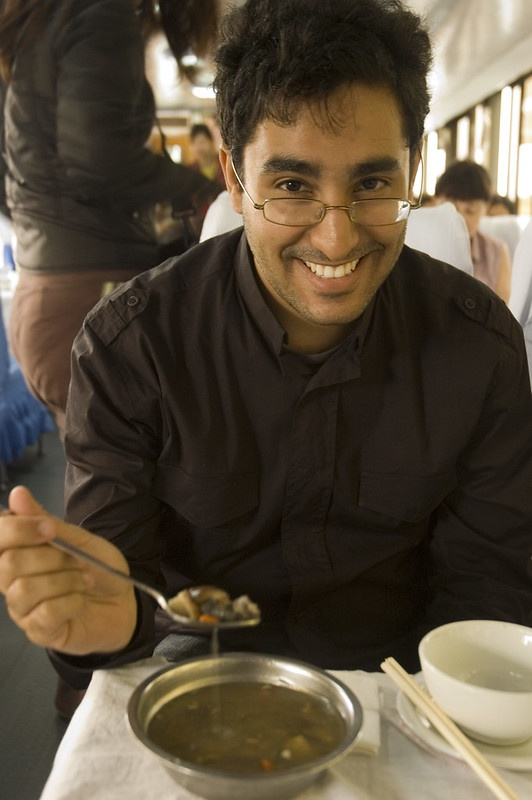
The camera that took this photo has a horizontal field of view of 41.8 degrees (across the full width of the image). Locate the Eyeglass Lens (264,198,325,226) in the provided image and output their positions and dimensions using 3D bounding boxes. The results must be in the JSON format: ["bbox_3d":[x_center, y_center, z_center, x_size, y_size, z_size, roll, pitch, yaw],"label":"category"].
[{"bbox_3d":[0.047,-0.315,1.173,0.119,0.048,0.025,10,17,38],"label":"Eyeglass Lens"}]

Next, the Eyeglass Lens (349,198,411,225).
[{"bbox_3d":[0.199,-0.320,1.193,0.036,0.047,0.169,10,16,37],"label":"Eyeglass Lens"}]

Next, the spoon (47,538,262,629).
[{"bbox_3d":[-0.151,0.246,0.873,0.265,0.043,0.075,15,6,-4],"label":"spoon"}]
